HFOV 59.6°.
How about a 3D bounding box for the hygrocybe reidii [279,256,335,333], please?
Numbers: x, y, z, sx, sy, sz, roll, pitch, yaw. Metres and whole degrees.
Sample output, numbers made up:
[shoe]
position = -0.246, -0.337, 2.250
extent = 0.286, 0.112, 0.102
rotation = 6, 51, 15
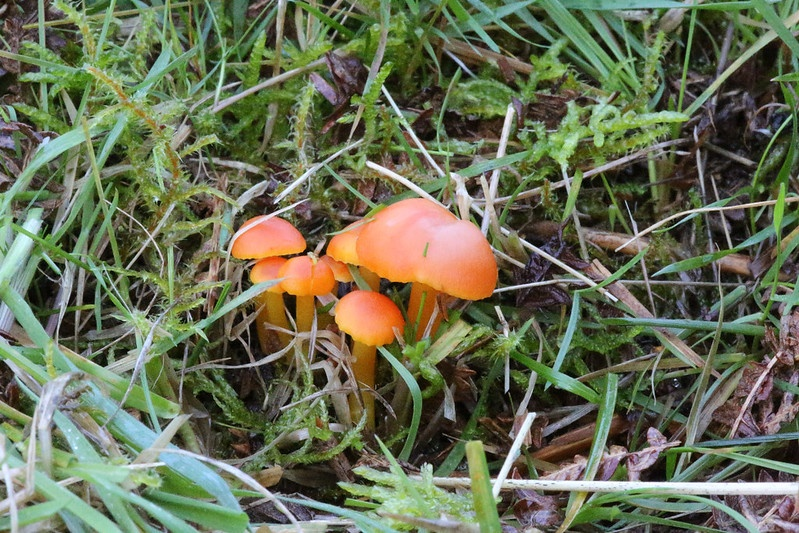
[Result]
[hygrocybe reidii]
position = -0.534, 0.161, 3.978
extent = 0.337, 0.487, 0.320
rotation = 3, 22, -5
